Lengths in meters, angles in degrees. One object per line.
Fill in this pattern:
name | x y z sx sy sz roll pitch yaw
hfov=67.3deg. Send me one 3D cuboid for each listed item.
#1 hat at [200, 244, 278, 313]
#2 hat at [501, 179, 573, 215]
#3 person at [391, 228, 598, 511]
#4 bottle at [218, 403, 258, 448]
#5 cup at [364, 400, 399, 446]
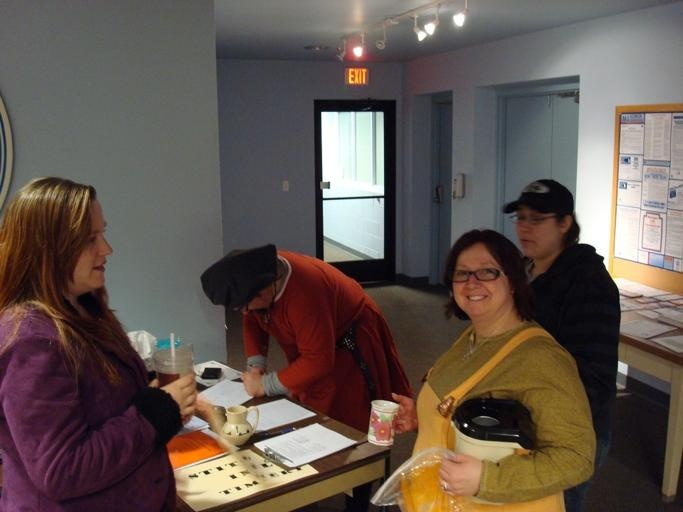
hat | -0.460 0.117 2.325 0.347 0.290 0.255 -2 13 -8
hat | 0.908 -0.248 2.349 0.237 0.140 0.176 15 0 -3
person | 0.488 0.312 1.686 0.435 0.745 0.674 -1 13 -3
bottle | -0.403 0.698 2.094 0.115 0.159 0.176 -5 -5 44
cup | 0.173 0.662 2.046 0.130 0.161 0.159 3 1 16
